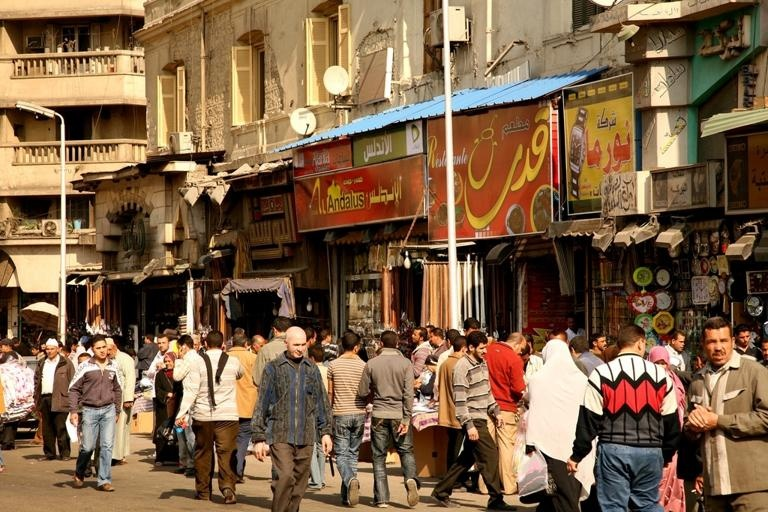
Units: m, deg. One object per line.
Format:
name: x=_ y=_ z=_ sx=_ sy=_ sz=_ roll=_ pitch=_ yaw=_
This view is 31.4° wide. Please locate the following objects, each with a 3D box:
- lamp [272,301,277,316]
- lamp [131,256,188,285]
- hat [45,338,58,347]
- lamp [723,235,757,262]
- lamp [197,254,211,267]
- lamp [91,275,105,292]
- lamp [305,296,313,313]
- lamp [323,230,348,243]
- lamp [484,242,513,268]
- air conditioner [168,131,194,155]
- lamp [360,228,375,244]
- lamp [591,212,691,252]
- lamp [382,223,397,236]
lamp: x=-2.878 y=1.455 z=36.211 sx=0.087 sy=0.282 sz=0.205 roll=1 pitch=-9 yaw=-8
lamp: x=-6.520 y=0.404 z=39.615 sx=1.068 sy=0.341 sz=1.083 roll=-25 pitch=1 yaw=-5
hat: x=-7.024 y=1.850 z=28.939 sx=0.223 sy=0.170 sz=0.231 roll=1 pitch=-10 yaw=-3
lamp: x=6.548 y=-0.180 z=25.210 sx=0.580 sy=0.491 sz=0.367 roll=-4 pitch=-6 yaw=35
lamp: x=-4.899 y=0.109 z=37.168 sx=0.272 sy=0.179 sz=0.387 roll=-7 pitch=-14 yaw=-29
lamp: x=-8.778 y=0.813 z=42.091 sx=0.469 sy=0.497 sz=1.006 roll=1 pitch=-6 yaw=-18
lamp: x=-1.965 y=1.268 z=35.700 sx=0.186 sy=0.385 sz=0.169 roll=-3 pitch=-6 yaw=26
lamp: x=-1.237 y=-0.516 z=34.049 sx=0.292 sy=0.277 sz=0.791 roll=3 pitch=-6 yaw=-28
lamp: x=2.477 y=-0.080 z=29.334 sx=0.630 sy=0.515 sz=0.604 roll=-1 pitch=-5 yaw=5
air conditioner: x=-5.876 y=-3.251 z=39.532 sx=0.716 sy=0.682 sz=0.500 roll=-1 pitch=-5 yaw=3
lamp: x=-0.399 y=-0.483 z=32.928 sx=0.307 sy=0.340 sz=0.334 roll=0 pitch=-23 yaw=-7
lamp: x=4.987 y=-0.410 z=26.772 sx=1.891 sy=0.750 sz=0.604 roll=-5 pitch=-7 yaw=40
lamp: x=0.100 y=-0.620 z=32.198 sx=0.212 sy=0.252 sz=0.412 roll=1 pitch=-6 yaw=-18
